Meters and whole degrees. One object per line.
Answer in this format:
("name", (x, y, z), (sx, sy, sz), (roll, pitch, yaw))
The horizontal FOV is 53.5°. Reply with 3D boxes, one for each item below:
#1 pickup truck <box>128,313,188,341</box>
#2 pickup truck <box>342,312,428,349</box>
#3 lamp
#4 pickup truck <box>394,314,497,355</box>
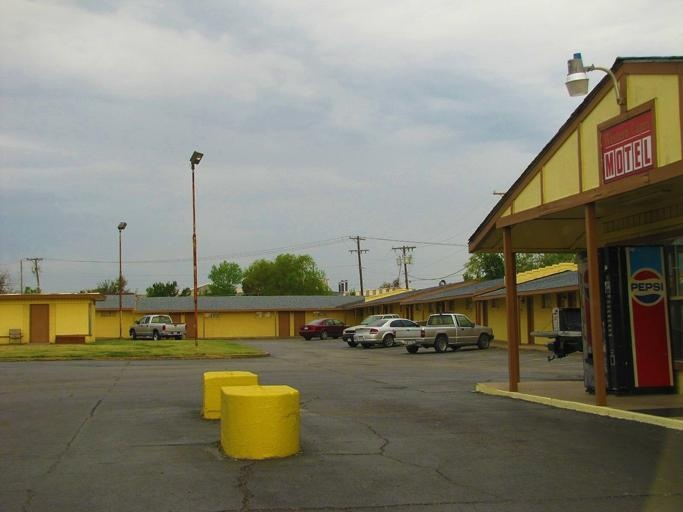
("pickup truck", (-13.229, 5.087, 48.575), (1.992, 1.364, 4.061), (3, -3, -42))
("pickup truck", (2.493, 4.241, 38.242), (1.967, 1.153, 3.758), (-6, -11, 35))
("lamp", (4.487, -3.107, 12.100), (1.011, 0.984, 0.487), (-3, 4, 7))
("pickup truck", (5.450, 3.801, 33.807), (4.038, 1.388, 2.195), (-1, -1, -31))
